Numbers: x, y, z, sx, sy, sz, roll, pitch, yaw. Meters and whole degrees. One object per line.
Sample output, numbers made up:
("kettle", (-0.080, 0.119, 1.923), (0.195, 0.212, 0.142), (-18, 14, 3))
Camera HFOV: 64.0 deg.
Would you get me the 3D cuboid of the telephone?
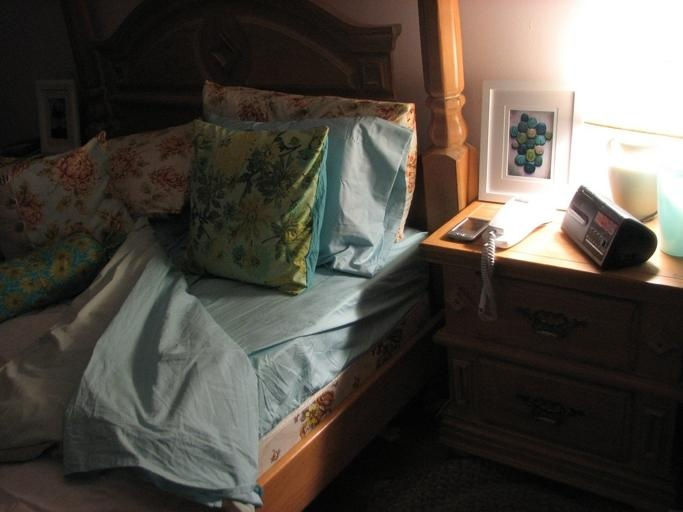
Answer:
("telephone", (0.534, -0.120, 1.668), (0.140, 0.088, 0.258), (10, 23, 44))
